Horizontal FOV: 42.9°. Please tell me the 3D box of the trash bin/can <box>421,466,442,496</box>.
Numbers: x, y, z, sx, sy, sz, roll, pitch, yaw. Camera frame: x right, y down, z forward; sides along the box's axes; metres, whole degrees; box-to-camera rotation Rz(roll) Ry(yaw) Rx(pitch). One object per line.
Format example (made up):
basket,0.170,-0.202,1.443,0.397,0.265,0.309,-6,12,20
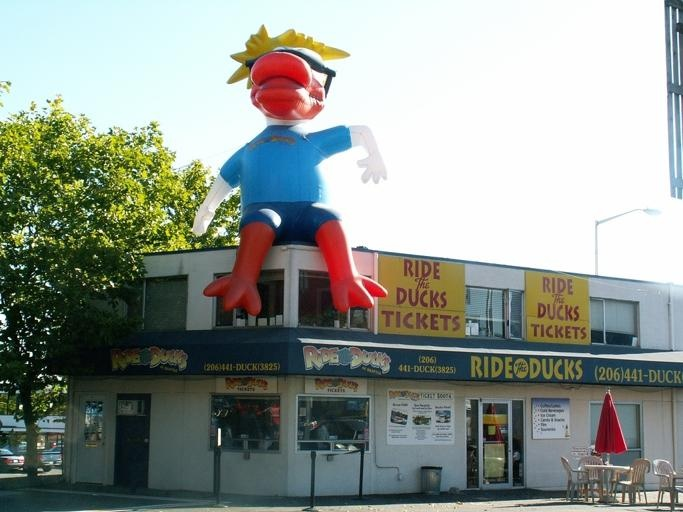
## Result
trash bin/can,2.417,6.245,24.014,0.758,0.919,0.644,1,-14,-2
